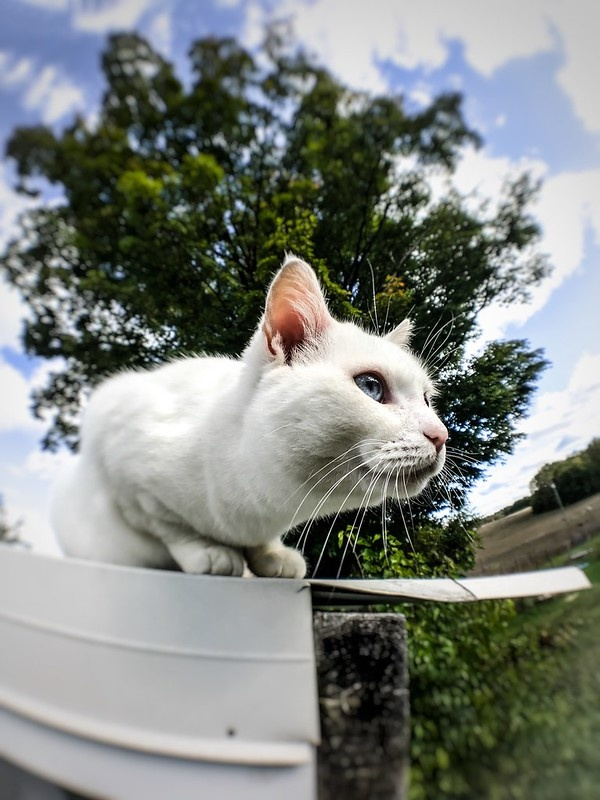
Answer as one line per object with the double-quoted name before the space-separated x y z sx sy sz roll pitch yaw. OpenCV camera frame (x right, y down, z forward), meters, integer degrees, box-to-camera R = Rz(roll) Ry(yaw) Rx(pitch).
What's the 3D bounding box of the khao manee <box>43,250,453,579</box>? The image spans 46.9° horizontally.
"khao manee" -0.227 0.224 2.379 0.890 0.799 1.681 18 -25 -40
